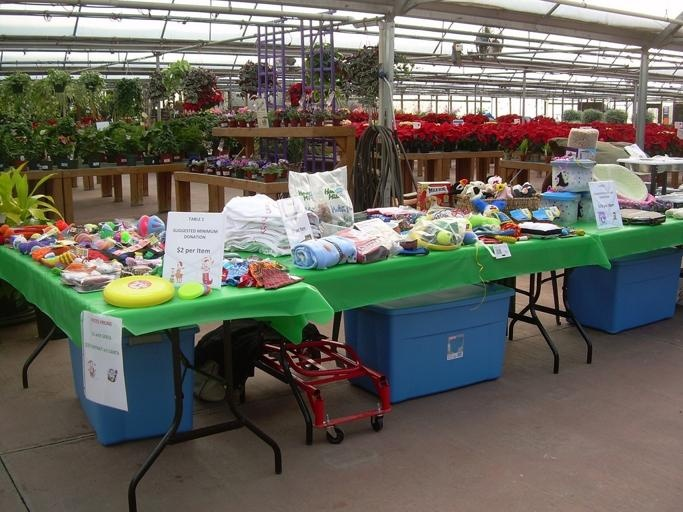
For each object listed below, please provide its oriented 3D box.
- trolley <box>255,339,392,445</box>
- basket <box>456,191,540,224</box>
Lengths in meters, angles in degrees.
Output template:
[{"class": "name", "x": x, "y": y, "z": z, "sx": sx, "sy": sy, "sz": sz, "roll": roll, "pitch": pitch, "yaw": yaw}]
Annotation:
[{"class": "trolley", "x": -0.107, "y": 0.661, "z": 2.726, "sx": 0.429, "sy": 0.322, "sz": 0.782, "roll": -5, "pitch": 10, "yaw": -30}, {"class": "basket", "x": 1.035, "y": -0.328, "z": 3.312, "sx": 0.357, "sy": 0.122, "sz": 0.225, "roll": -4, "pitch": 10, "yaw": -22}]
